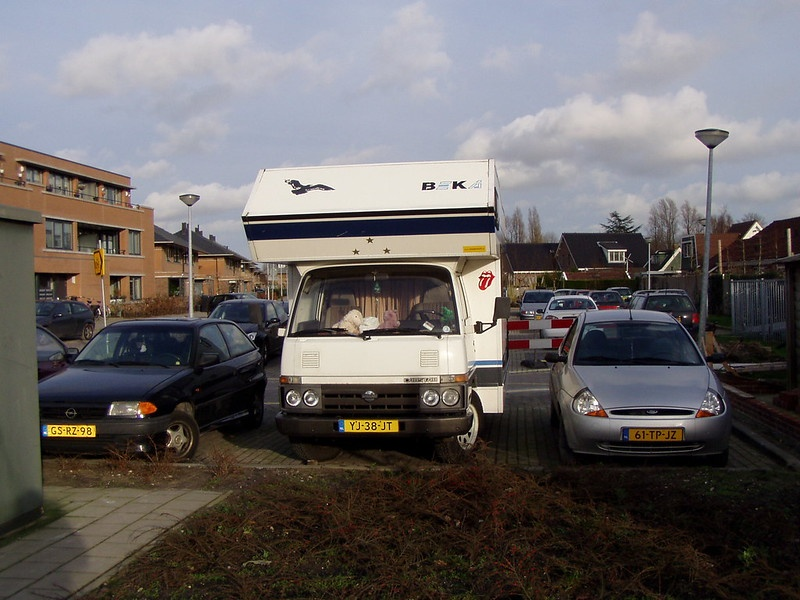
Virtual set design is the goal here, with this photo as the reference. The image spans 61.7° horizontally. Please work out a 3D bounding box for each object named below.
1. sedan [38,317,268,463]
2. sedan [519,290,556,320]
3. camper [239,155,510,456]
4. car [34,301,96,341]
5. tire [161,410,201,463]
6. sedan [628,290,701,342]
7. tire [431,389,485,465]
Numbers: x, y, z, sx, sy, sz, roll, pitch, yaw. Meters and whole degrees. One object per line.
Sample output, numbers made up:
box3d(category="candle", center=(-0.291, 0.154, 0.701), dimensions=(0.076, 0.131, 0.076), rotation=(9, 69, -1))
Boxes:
box3d(category="sedan", center=(-3.008, 1.097, 8.519), dimensions=(1.288, 0.982, 2.143), rotation=(-2, -3, 11))
box3d(category="sedan", center=(5.746, 0.169, 28.445), dimensions=(0.912, 0.862, 2.024), rotation=(-1, -3, 3))
box3d(category="camper", center=(-0.131, 0.599, 10.241), dimensions=(2.797, 3.792, 5.860), rotation=(-1, -10, 3))
box3d(category="car", center=(-10.697, 0.667, 21.400), dimensions=(1.069, 0.991, 2.507), rotation=(-1, -6, 8))
box3d(category="tire", center=(-2.612, 1.619, 7.947), dimensions=(0.148, 0.511, 0.487), rotation=(-5, -31, 24))
box3d(category="sedan", center=(5.748, 0.308, 14.406), dimensions=(1.029, 1.042, 2.030), rotation=(1, -6, 4))
box3d(category="tire", center=(0.753, 1.520, 7.725), dimensions=(0.652, 0.785, 0.800), rotation=(-2, 5, -11))
